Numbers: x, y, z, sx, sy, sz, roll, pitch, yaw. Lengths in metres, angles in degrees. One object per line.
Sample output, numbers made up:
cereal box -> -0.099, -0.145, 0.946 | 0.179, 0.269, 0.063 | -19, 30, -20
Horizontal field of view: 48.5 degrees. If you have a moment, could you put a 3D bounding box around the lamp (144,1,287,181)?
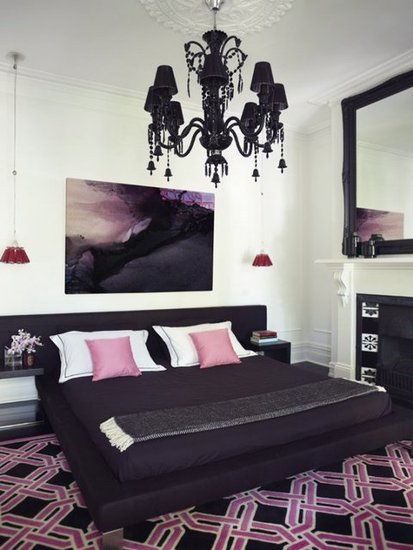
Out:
lamp -> 0.019, -1.233, 3.241 | 0.902, 1.174, 1.846 | 0, 6, -8

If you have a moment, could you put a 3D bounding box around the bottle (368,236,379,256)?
bottle -> 1.531, -0.258, 4.234 | 0.107, 0.194, 0.077 | 6, 7, 43

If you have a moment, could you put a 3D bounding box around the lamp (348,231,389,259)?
lamp -> 1.515, -0.283, 4.376 | 0.301, 0.217, 0.175 | 1, 0, 41

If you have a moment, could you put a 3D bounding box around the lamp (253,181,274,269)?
lamp -> 0.664, -0.605, 5.192 | 0.219, 1.070, 0.501 | 1, 5, 9

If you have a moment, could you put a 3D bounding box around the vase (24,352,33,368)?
vase -> -1.433, 0.689, 3.675 | 0.064, 0.103, 0.066 | -6, -11, 25

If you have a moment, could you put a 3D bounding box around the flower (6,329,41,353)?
flower -> -1.481, 0.553, 3.705 | 0.213, 0.134, 0.185 | -16, -11, 23

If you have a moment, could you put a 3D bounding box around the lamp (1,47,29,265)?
lamp -> -1.613, -0.944, 3.787 | 0.223, 1.725, 0.363 | -1, 6, -21
